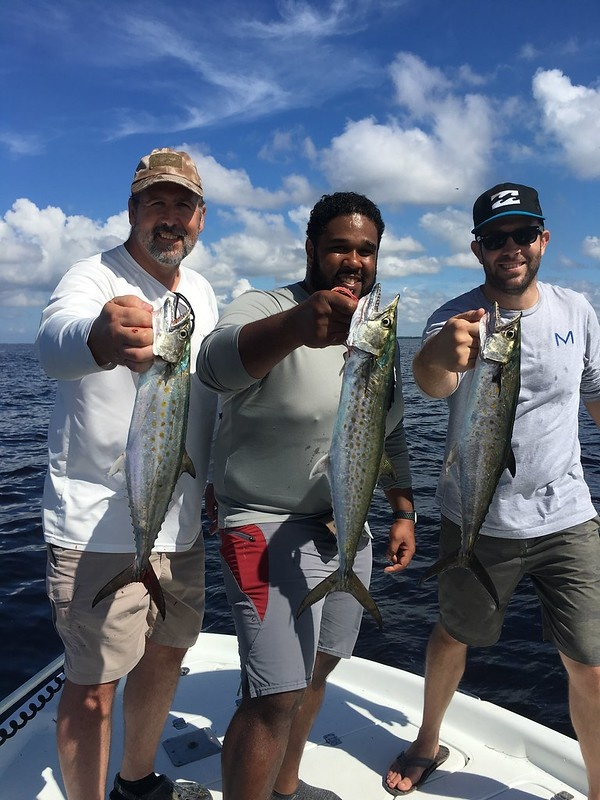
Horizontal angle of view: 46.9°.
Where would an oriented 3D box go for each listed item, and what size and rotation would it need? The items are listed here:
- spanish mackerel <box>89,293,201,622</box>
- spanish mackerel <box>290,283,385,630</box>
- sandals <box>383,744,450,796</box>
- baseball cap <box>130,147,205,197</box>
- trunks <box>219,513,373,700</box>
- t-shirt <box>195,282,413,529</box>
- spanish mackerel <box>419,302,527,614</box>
[{"bbox_3d":[-0.624,0.230,2.782,0.352,1.316,0.186,1,11,-23],"label":"spanish mackerel"},{"bbox_3d":[0.199,0.257,2.993,0.424,1.457,0.328,9,17,-11],"label":"spanish mackerel"},{"bbox_3d":[0.666,2.076,3.855,0.386,0.090,0.149,9,-12,-44],"label":"sandals"},{"bbox_3d":[-0.665,-1.171,3.492,0.367,0.243,0.463,-1,13,-16],"label":"baseball cap"},{"bbox_3d":[-0.055,0.939,3.310,0.515,0.712,0.914,-20,-21,26],"label":"trunks"},{"bbox_3d":[-0.022,0.031,2.993,1.213,0.919,0.577,19,-5,-40],"label":"t-shirt"},{"bbox_3d":[0.894,0.317,3.345,0.370,1.552,0.729,8,11,14],"label":"spanish mackerel"}]
